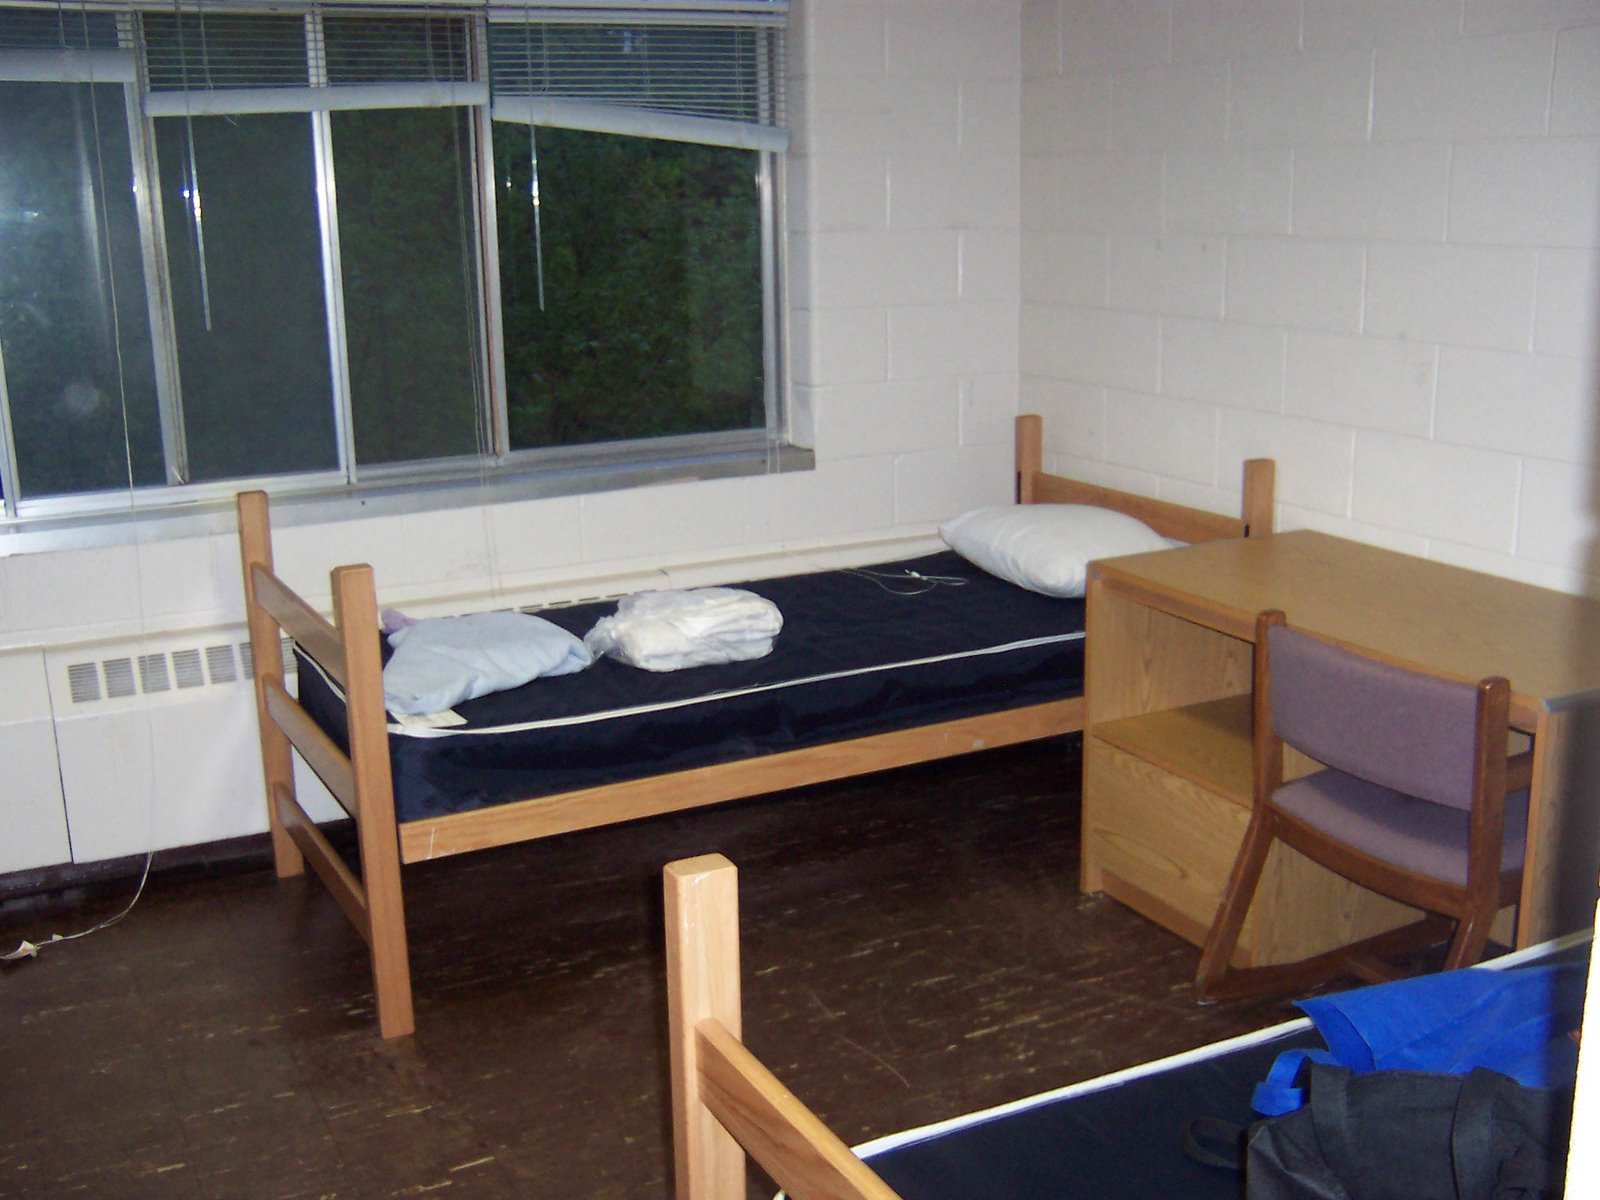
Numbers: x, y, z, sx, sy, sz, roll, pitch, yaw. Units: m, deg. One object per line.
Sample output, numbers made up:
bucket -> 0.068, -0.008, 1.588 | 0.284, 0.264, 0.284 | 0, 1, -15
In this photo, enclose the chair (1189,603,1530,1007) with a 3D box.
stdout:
chair -> 1.281, 0.484, 2.735 | 0.663, 0.761, 0.665 | 13, 17, 38
